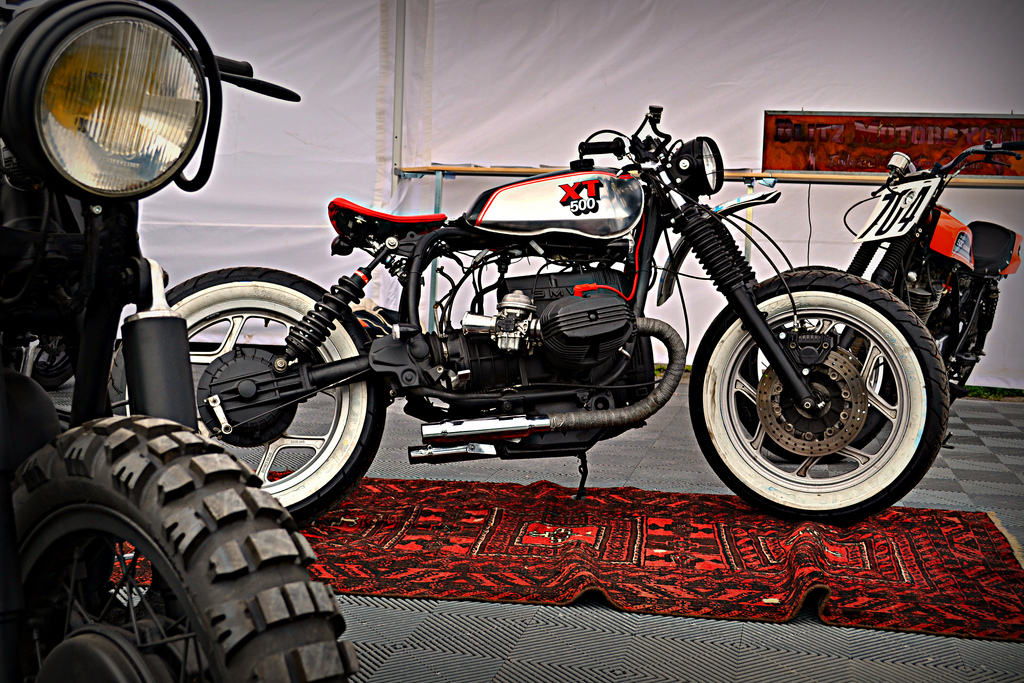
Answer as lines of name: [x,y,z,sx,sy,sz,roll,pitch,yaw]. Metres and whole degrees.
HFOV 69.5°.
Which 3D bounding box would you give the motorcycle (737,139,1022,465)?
motorcycle: [2.077,-0.319,4.074,1.822,1.088,1.059,-5,0,-35]
